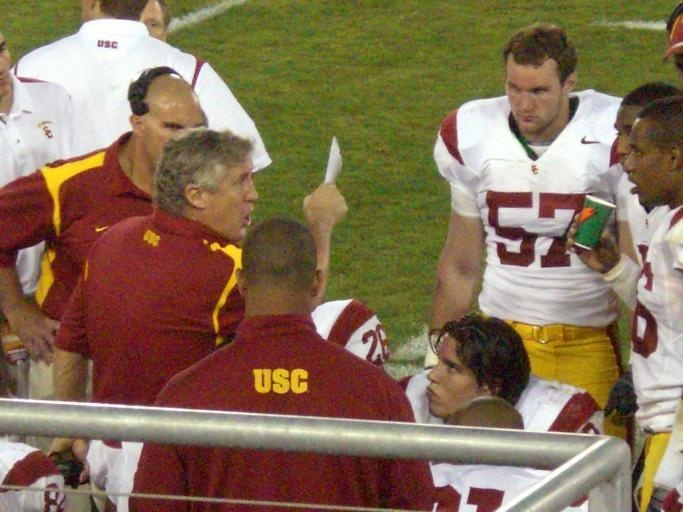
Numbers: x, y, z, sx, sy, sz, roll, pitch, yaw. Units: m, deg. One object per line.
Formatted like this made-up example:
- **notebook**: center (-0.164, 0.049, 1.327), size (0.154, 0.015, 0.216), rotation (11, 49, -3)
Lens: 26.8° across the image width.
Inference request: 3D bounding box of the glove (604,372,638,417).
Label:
- **glove**: center (1.276, 0.622, 6.502), size (0.077, 0.187, 0.144), rotation (4, -4, -23)
